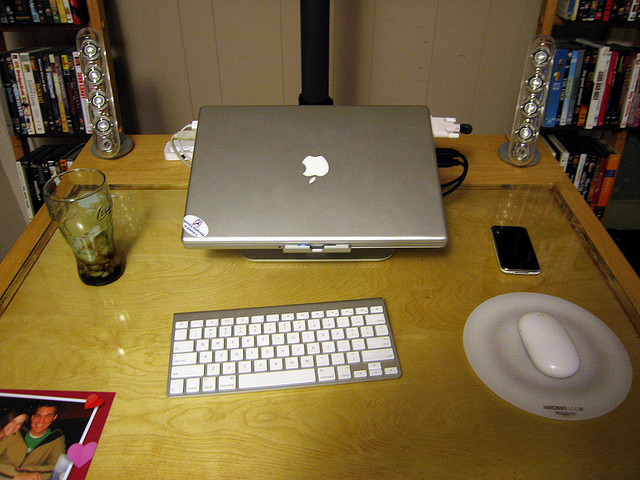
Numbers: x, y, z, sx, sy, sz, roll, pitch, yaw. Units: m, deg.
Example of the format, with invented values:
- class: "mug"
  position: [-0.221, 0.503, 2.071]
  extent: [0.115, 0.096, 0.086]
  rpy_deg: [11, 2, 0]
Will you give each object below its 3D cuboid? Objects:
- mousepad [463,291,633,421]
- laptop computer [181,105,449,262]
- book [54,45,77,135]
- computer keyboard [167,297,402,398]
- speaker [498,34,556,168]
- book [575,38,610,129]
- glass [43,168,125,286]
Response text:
- class: "mousepad"
  position: [0.406, 0.200, 0.807]
  extent: [0.233, 0.040, 0.188]
  rpy_deg: [-5, 44, -1]
- class: "laptop computer"
  position: [-0.006, -0.125, 1.039]
  extent: [0.603, 0.149, 0.321]
  rpy_deg: [-3, 66, -1]
- class: "book"
  position: [-0.977, -0.620, 1.898]
  extent: [0.064, 0.351, 0.150]
  rpy_deg: [-3, 48, -14]
- class: "computer keyboard"
  position: [-0.066, 0.188, 0.817]
  extent: [0.399, 0.069, 0.157]
  rpy_deg: [-3, 32, -5]
- class: "speaker"
  position: [0.566, -0.348, 1.175]
  extent: [0.135, 0.328, 0.147]
  rpy_deg: [20, 43, 30]
- class: "book"
  position: [1.220, -0.675, 1.994]
  extent: [0.057, 0.324, 0.337]
  rpy_deg: [9, 25, 29]
- class: "glass"
  position: [-0.477, -0.006, 0.931]
  extent: [0.126, 0.167, 0.108]
  rpy_deg: [-6, 16, -2]
